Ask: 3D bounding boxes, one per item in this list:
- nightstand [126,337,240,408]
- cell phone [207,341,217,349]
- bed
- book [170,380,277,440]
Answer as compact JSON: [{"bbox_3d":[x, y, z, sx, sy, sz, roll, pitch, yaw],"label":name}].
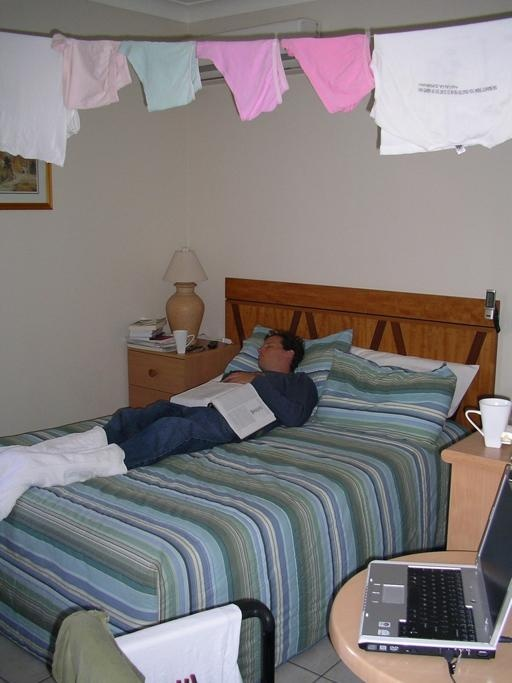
[{"bbox_3d":[-0.565,0.329,4.121,0.726,0.524,0.704,-6,10,-37],"label":"nightstand"},{"bbox_3d":[-0.313,0.024,3.950,0.045,0.024,0.062,6,24,8],"label":"cell phone"},{"bbox_3d":[0.312,0.686,2.880,1.744,1.049,1.778,10,21,34],"label":"bed"},{"bbox_3d":[-0.085,0.308,2.691,0.271,0.155,0.482,-24,31,-31],"label":"book"}]
